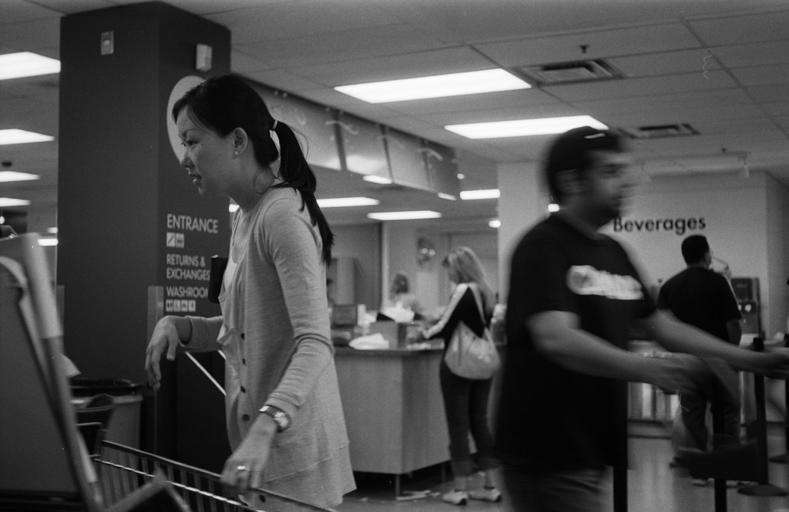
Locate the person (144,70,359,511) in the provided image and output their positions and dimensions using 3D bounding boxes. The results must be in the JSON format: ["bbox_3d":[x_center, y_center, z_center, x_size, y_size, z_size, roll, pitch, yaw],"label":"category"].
[{"bbox_3d":[-0.367,0.098,1.954,0.551,1.206,0.818,1,-1,-20],"label":"person"}]

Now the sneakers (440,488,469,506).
[{"bbox_3d":[0.455,1.794,5.332,0.176,0.065,0.090,0,-8,36],"label":"sneakers"}]

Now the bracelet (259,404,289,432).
[{"bbox_3d":[-0.272,0.374,1.661,0.069,0.034,0.056,27,-25,18],"label":"bracelet"}]
